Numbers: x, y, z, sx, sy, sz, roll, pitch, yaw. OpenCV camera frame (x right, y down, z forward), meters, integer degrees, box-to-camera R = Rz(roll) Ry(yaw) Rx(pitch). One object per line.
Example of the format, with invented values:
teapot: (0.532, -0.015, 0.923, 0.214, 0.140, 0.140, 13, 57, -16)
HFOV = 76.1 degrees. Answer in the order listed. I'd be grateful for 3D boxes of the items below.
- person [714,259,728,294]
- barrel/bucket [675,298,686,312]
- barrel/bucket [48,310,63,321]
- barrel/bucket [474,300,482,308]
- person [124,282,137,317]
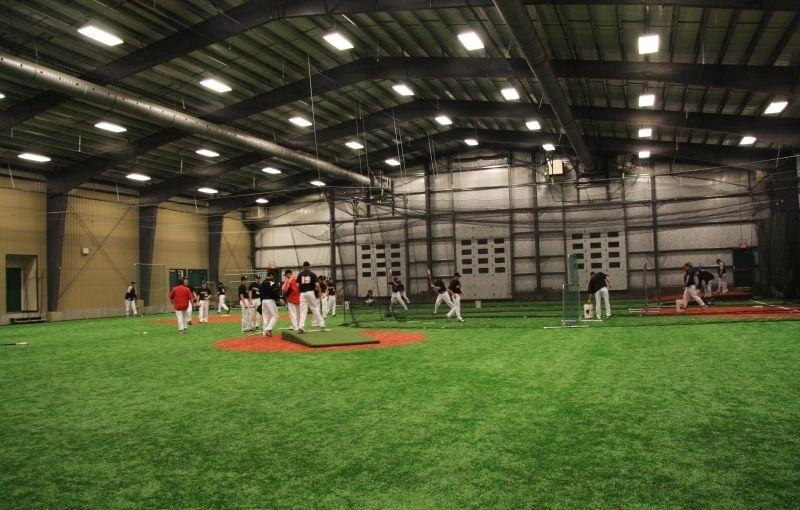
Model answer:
person: (17.910, 1.109, 28.339, 0.660, 1.774, 1.593, 5, 14, 32)
barrel/bucket: (11.955, 2.153, 21.698, 0.451, 0.669, 0.807, 1, 0, 31)
barrel/bucket: (-17.872, 3.167, 26.539, 0.649, 0.531, 0.416, -9, 14, -31)
barrel/bucket: (4.254, 2.653, 27.428, 0.445, 0.641, 0.744, -1, 1, 9)
person: (-15.696, 2.574, 29.817, 0.722, 1.877, 1.199, -9, 14, -26)
